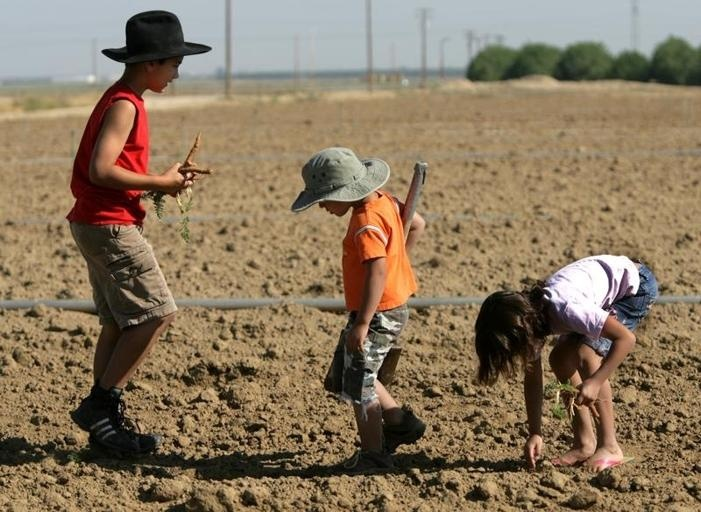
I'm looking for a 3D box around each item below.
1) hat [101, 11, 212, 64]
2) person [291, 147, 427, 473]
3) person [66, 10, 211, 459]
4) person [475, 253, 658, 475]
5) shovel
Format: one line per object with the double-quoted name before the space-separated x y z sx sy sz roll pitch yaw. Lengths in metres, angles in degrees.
"hat" -1.183 -1.336 8.201 0.613 0.311 0.200 -1 12 -9
"person" 0.083 0.319 8.234 0.778 1.928 0.518 1 12 2
"person" -1.339 -0.116 8.257 0.769 2.735 0.565 -1 12 -9
"person" 1.362 0.647 8.293 1.260 1.271 0.859 0 -7 -10
"shovel" 0.180 0.233 8.450 0.493 1.645 0.253 5 17 -28
